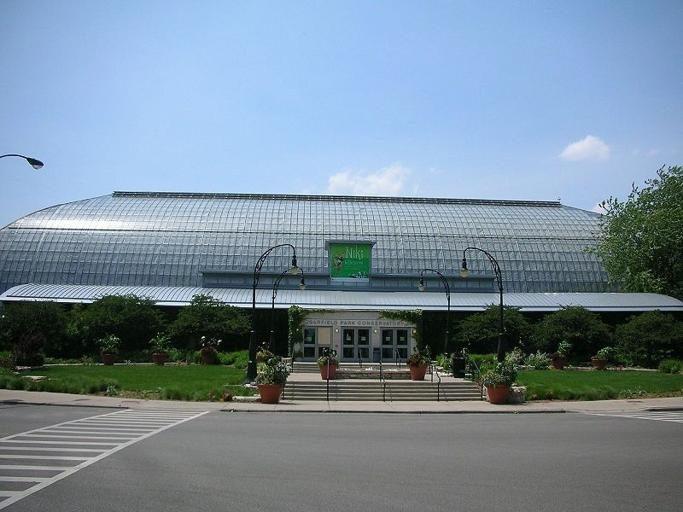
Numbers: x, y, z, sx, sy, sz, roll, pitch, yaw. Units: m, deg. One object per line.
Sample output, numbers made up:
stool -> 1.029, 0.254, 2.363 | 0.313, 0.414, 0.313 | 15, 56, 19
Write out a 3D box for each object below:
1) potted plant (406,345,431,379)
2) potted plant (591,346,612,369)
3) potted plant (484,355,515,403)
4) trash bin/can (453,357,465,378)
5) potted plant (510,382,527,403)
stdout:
potted plant -> 5.248, 7.321, 33.753 | 1.540, 1.814, 1.598 | -6, -15, 22
potted plant -> 21.983, 8.653, 42.537 | 1.804, 1.992, 1.880 | -5, -10, 34
potted plant -> 8.912, 7.092, 28.525 | 1.795, 2.320, 1.506 | 5, -17, -2
trash bin/can -> 7.962, 7.512, 33.974 | 0.839, 1.371, 0.550 | 0, -3, 12
potted plant -> 10.024, 7.819, 28.724 | 0.839, 0.582, 0.869 | 0, -8, -5
